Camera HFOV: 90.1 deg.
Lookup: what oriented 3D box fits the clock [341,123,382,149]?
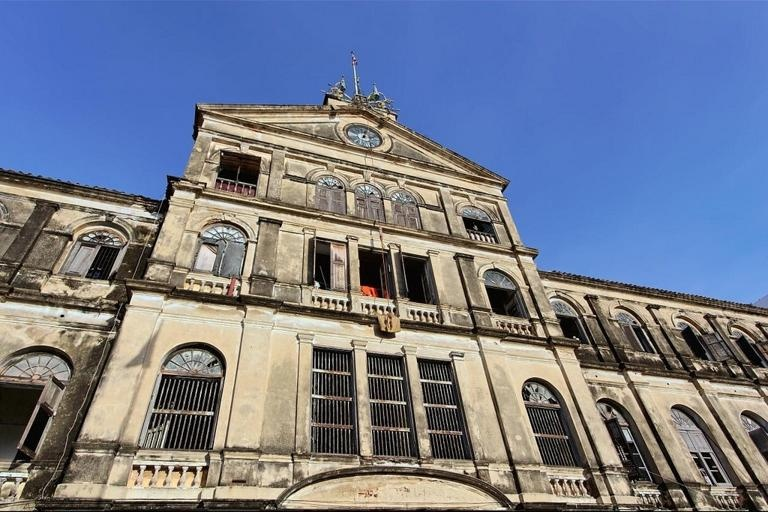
[{"bbox_3d":[-1.382,-7.002,22.474,2.390,2.204,0.160,14,-43,-3],"label":"clock"}]
